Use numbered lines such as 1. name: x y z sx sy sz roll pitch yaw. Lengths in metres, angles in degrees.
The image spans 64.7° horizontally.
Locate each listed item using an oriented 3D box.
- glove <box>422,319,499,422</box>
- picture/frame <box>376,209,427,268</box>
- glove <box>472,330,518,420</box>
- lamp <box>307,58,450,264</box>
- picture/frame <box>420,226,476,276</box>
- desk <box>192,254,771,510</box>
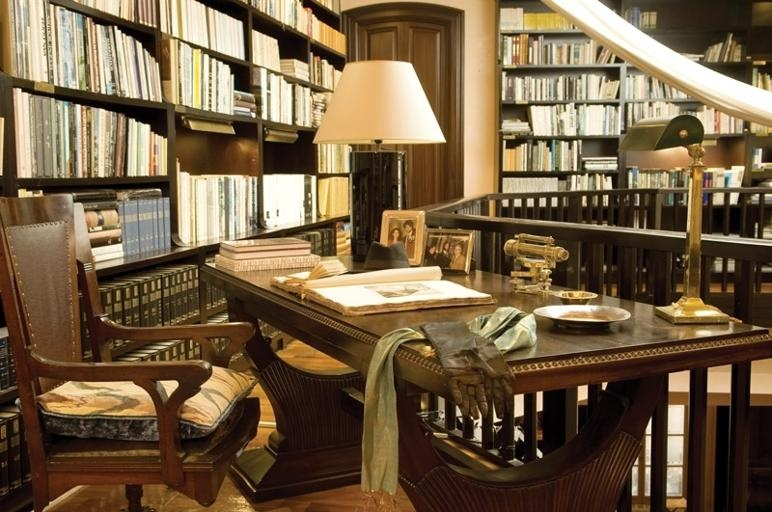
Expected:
1. glove: 0.177 0.256 1.447 0.140 0.054 0.224 -12 37 -16
2. picture/frame: 0.060 -0.063 2.342 0.222 0.255 0.029 1 -9 14
3. glove: 0.244 0.281 1.429 0.104 0.058 0.158 -3 52 -10
4. lamp: -0.022 -0.547 2.452 0.391 0.412 0.390 8 13 33
5. picture/frame: 0.220 -0.015 2.240 0.173 0.168 0.021 10 -1 18
6. desk: 0.350 0.460 1.931 1.605 0.727 1.018 -2 7 -8
